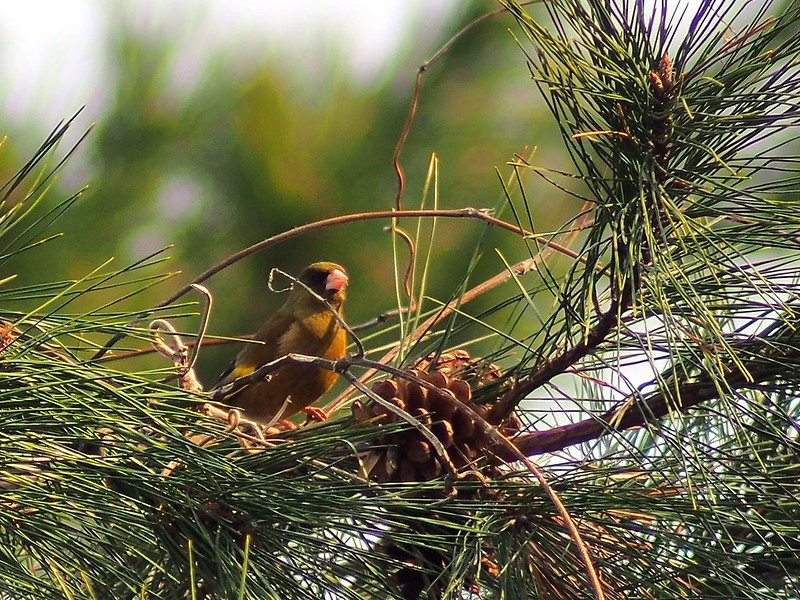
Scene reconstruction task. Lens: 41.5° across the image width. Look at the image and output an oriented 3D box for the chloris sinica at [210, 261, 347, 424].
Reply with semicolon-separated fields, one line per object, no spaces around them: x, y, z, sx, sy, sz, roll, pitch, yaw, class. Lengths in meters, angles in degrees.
-0.348;0.119;3.211;0.500;0.495;0.308;3;-1;21;chloris sinica
